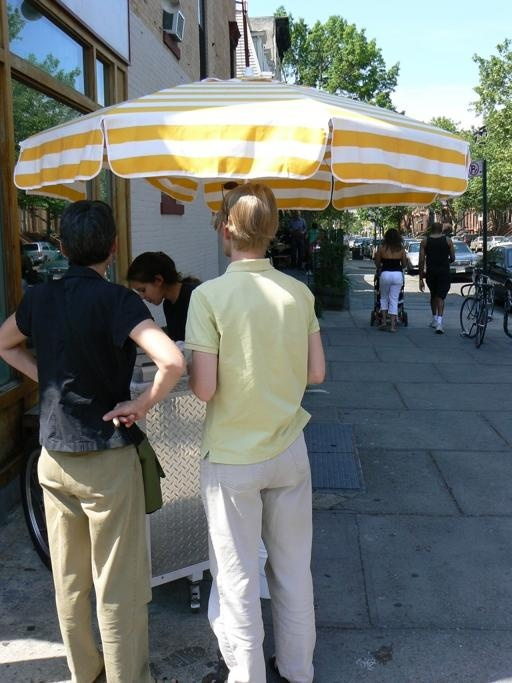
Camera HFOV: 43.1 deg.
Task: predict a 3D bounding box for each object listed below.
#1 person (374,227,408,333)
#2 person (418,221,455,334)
[{"bbox_3d":[2.399,-1.077,11.654,0.528,1.873,0.865,3,10,9],"label":"person"},{"bbox_3d":[3.193,-1.134,11.758,0.627,1.984,0.687,0,10,-8],"label":"person"}]
